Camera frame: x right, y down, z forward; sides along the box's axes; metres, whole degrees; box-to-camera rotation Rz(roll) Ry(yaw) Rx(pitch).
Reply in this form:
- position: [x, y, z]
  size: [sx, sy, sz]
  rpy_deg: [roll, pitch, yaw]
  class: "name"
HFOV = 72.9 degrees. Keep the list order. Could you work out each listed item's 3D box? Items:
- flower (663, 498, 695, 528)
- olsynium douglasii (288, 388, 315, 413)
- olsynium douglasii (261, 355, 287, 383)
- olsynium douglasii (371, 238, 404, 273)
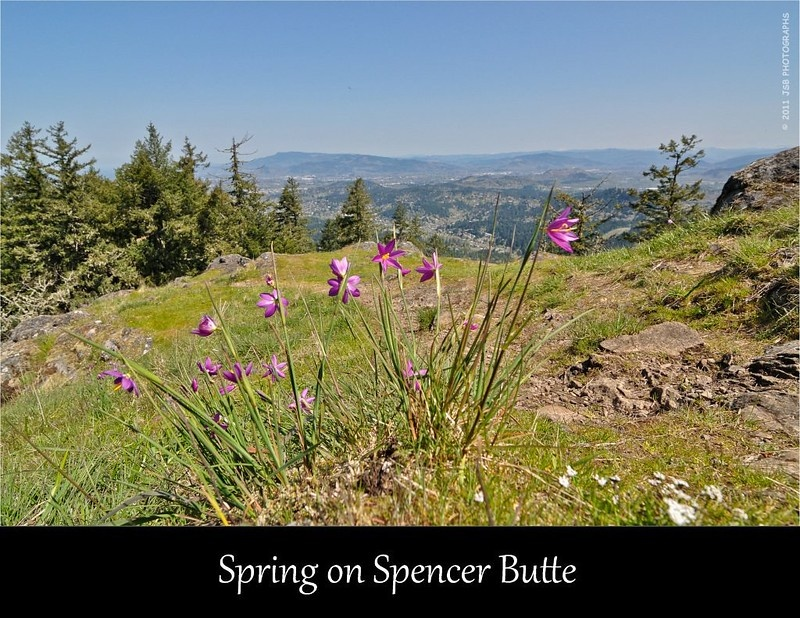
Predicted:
- position: [1.771, 1.269, 3.374]
  size: [0.216, 0.067, 0.175]
  rpy_deg: [14, 9, -14]
  class: "flower"
- position: [-0.708, 0.695, 4.083]
  size: [0.189, 0.206, 0.096]
  rpy_deg: [-2, 6, -27]
  class: "olsynium douglasii"
- position: [-0.957, 0.453, 4.026]
  size: [0.112, 0.242, 0.235]
  rpy_deg: [-4, 59, 14]
  class: "olsynium douglasii"
- position: [-0.082, -0.373, 3.755]
  size: [0.191, 0.229, 0.105]
  rpy_deg: [9, 18, -16]
  class: "olsynium douglasii"
